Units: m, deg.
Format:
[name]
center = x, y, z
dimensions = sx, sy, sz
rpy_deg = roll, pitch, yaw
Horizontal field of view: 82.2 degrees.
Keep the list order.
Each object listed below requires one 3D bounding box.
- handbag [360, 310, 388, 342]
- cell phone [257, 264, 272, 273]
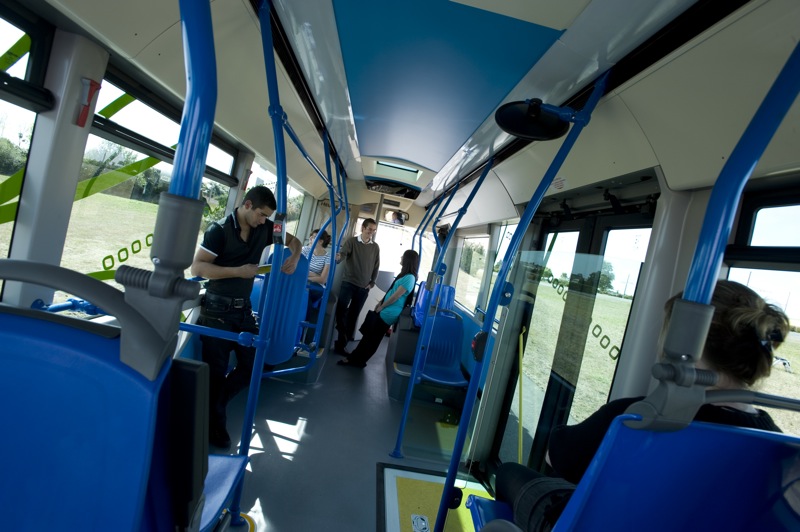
[handbag]
center = -0.352, 0.777, 6.480
dimensions = 0.411, 0.552, 0.321
rpy_deg = 4, 12, 8
[cell phone]
center = -0.943, 0.012, 3.193
dimensions = 0.063, 0.047, 0.268
rpy_deg = 1, -3, -40
